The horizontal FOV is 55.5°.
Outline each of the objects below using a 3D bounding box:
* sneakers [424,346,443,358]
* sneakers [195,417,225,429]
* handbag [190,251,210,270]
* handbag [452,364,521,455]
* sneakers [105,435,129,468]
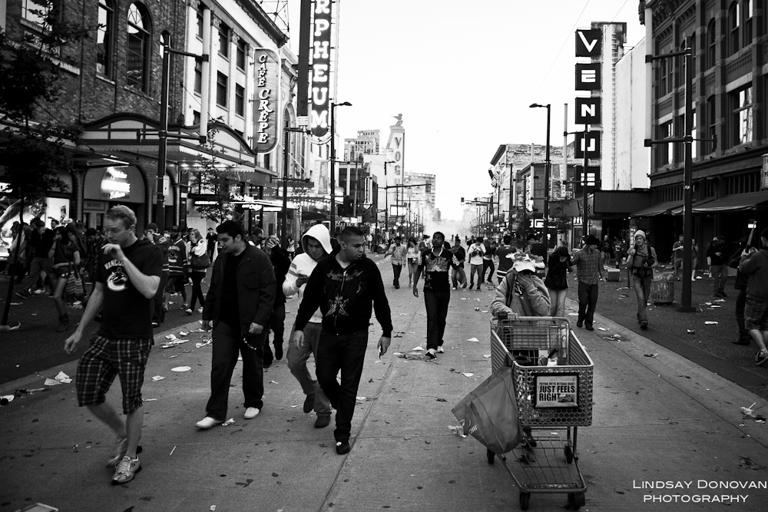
[{"bbox_3d":[0.992,1.999,14.896,0.154,0.224,0.473,6,-17,20],"label":"sneakers"},{"bbox_3d":[-2.648,2.518,10.993,0.404,0.173,0.163,8,-4,-28],"label":"sneakers"},{"bbox_3d":[-4.997,0.147,19.710,0.442,0.487,0.380,-3,8,-27],"label":"handbag"},{"bbox_3d":[1.339,1.955,9.348,0.803,1.040,0.418,1,7,9],"label":"handbag"},{"bbox_3d":[-3.662,2.675,10.079,0.184,0.261,0.576,7,1,-2],"label":"sneakers"}]
